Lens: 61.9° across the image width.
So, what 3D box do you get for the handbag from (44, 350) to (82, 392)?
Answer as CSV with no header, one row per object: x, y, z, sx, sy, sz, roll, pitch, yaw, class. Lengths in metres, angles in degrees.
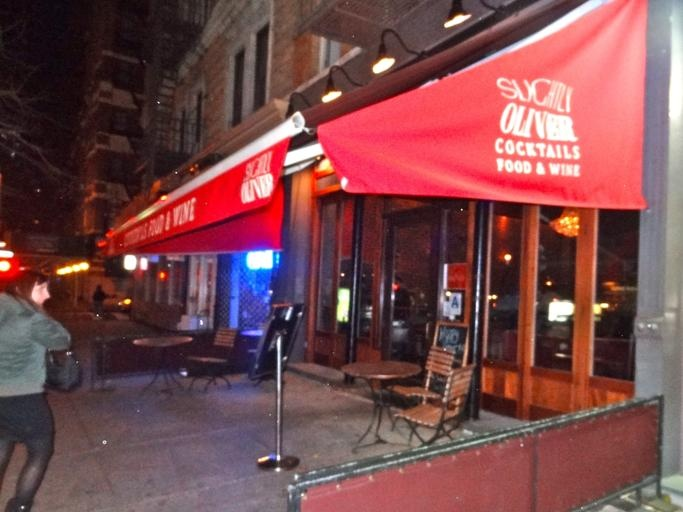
-2.744,1.140,5.556,0.376,0.407,0.389,-16,-10,41,handbag

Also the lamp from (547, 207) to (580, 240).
2.997,-0.438,7.655,0.150,0.381,0.482,-1,2,-18,lamp

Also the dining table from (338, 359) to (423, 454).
0.505,1.975,7.465,0.790,0.881,0.825,-2,-15,-8,dining table

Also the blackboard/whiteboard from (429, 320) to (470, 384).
1.472,1.317,7.711,0.100,0.970,0.829,23,-15,-28,blackboard/whiteboard

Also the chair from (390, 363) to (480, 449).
1.119,1.825,6.825,0.897,1.048,0.955,3,-2,-8,chair

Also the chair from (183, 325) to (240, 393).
-2.406,1.922,10.589,0.855,1.070,0.863,-3,-5,33,chair

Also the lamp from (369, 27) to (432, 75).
0.764,-3.086,8.279,0.788,0.448,0.383,-12,9,0,lamp

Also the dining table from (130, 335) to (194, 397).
-3.075,1.916,9.953,0.866,1.156,1.066,14,9,42,dining table
